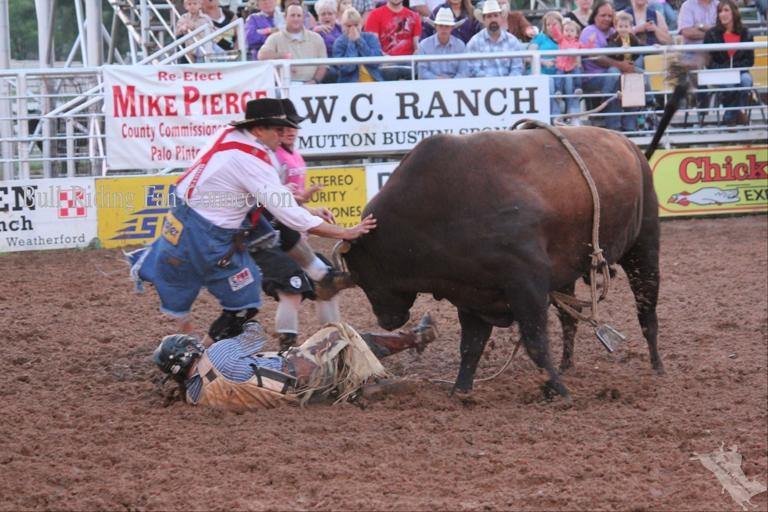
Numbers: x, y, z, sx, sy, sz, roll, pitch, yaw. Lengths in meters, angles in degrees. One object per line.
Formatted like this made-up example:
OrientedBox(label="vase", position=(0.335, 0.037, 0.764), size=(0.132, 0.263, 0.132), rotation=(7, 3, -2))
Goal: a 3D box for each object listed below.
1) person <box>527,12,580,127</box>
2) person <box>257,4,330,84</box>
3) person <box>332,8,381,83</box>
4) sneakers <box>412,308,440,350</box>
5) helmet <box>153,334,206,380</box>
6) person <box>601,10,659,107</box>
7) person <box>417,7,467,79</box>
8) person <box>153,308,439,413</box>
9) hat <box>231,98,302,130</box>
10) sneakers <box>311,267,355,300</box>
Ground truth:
OrientedBox(label="person", position=(2.291, -2.517, 16.189), size=(0.694, 1.435, 1.126), rotation=(0, 16, 5))
OrientedBox(label="person", position=(-1.231, -2.747, 15.701), size=(0.897, 0.985, 0.492), rotation=(-1, 17, -1))
OrientedBox(label="person", position=(-0.368, -2.716, 15.654), size=(0.657, 0.931, 0.403), rotation=(-2, 18, -2))
OrientedBox(label="sneakers", position=(0.398, 0.734, 11.809), size=(0.201, 0.223, 0.479), rotation=(-14, 4, 27))
OrientedBox(label="helmet", position=(-1.883, 0.948, 11.016), size=(0.460, 0.437, 0.235), rotation=(-3, 17, -8))
OrientedBox(label="person", position=(3.372, -2.657, 16.397), size=(0.671, 1.255, 0.776), rotation=(2, 17, 9))
OrientedBox(label="person", position=(0.739, -2.768, 15.835), size=(0.672, 0.884, 0.670), rotation=(-1, 16, 1))
OrientedBox(label="person", position=(-0.902, 0.926, 11.142), size=(2.251, 0.486, 0.915), rotation=(-6, 6, -9))
OrientedBox(label="hat", position=(-1.046, -1.314, 11.185), size=(0.461, 0.288, 0.603), rotation=(12, 19, 40))
OrientedBox(label="sneakers", position=(-0.522, 0.296, 11.413), size=(0.342, 0.147, 0.537), rotation=(8, -17, -32))
